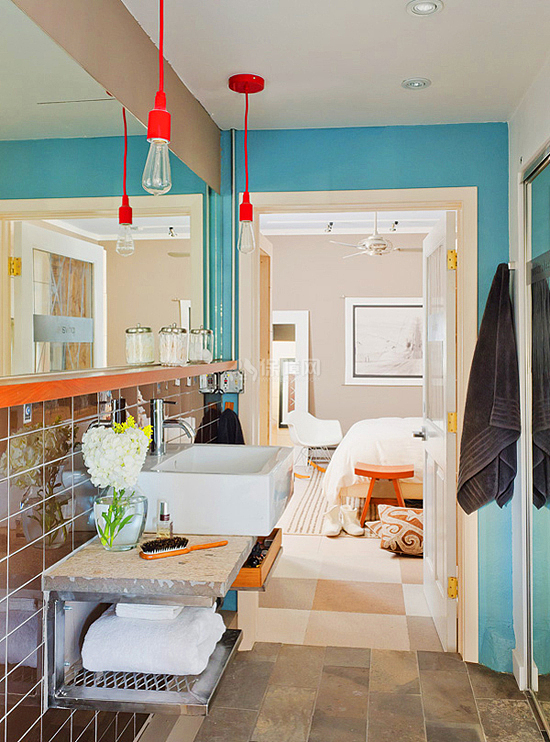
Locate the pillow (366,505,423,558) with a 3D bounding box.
[{"bbox_3d":[0.834,1.060,3.939,0.285,0.243,0.355,1,1,16],"label":"pillow"}]

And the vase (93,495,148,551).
[{"bbox_3d":[-0.360,0.335,1.364,0.110,0.113,0.124,1,-3,-17],"label":"vase"}]

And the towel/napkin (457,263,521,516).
[{"bbox_3d":[0.872,0.072,2.409,0.222,1.030,0.150,1,1,9],"label":"towel/napkin"}]

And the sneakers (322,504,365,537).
[{"bbox_3d":[0.491,1.076,4.268,0.283,0.186,0.237,1,1,4],"label":"sneakers"}]

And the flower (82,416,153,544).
[{"bbox_3d":[-0.377,0.262,1.422,0.160,0.313,0.261,0,1,-17],"label":"flower"}]

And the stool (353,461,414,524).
[{"bbox_3d":[0.790,0.876,4.471,0.421,0.570,0.425,0,-2,2],"label":"stool"}]

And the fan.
[{"bbox_3d":[0.936,-1.145,5.108,0.614,0.275,0.650,2,1,6],"label":"fan"}]

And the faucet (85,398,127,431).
[{"bbox_3d":[-0.461,0.114,1.629,0.030,0.096,0.095,-1,-2,21],"label":"faucet"}]

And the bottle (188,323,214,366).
[{"bbox_3d":[-0.309,-0.111,2.562,0.118,0.235,0.156,0,1,-4],"label":"bottle"}]

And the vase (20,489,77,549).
[{"bbox_3d":[-0.496,0.324,1.295,0.107,0.126,0.099,-1,3,-32],"label":"vase"}]

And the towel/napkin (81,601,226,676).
[{"bbox_3d":[-0.268,0.580,1.303,0.272,0.104,0.184,1,2,9],"label":"towel/napkin"}]

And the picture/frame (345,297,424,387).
[{"bbox_3d":[1.240,-0.313,6.509,0.892,0.982,0.070,0,-2,1],"label":"picture/frame"}]

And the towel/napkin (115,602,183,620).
[{"bbox_3d":[-0.289,0.535,1.311,0.094,0.031,0.096,1,-5,1],"label":"towel/napkin"}]
